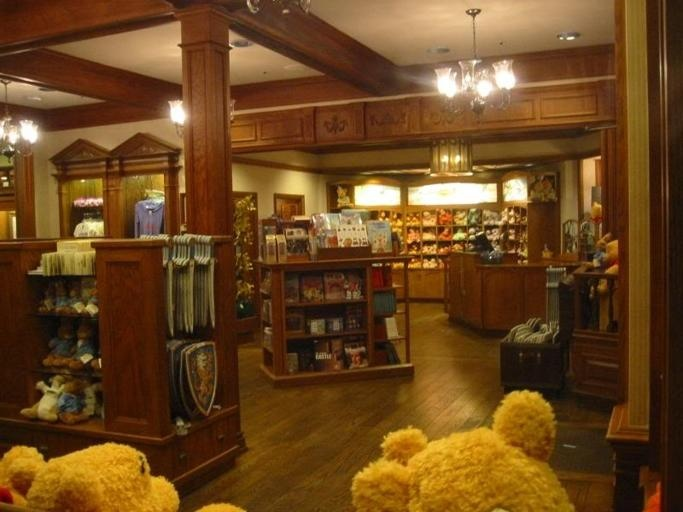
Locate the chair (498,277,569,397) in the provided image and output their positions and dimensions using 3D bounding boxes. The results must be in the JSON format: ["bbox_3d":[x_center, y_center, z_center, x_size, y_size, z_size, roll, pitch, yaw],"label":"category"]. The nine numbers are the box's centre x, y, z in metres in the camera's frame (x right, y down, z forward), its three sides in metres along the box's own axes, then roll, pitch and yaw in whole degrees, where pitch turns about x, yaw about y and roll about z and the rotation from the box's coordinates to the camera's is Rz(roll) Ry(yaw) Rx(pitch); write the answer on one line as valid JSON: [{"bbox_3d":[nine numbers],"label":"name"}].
[{"bbox_3d":[2.223,0.877,6.143,0.714,1.207,1.232,-1,0,23],"label":"chair"}]

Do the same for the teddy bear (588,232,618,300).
[{"bbox_3d":[2.716,0.078,5.708,0.216,0.590,0.919,-1,3,24],"label":"teddy bear"}]

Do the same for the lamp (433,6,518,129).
[{"bbox_3d":[1.369,-1.753,5.737,0.750,0.533,0.347,-1,2,12],"label":"lamp"}]

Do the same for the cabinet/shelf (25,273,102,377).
[{"bbox_3d":[-1.869,0.536,4.084,0.725,0.702,0.387,12,-15,-38],"label":"cabinet/shelf"}]

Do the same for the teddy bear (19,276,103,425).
[{"bbox_3d":[-2.005,0.667,4.049,0.726,1.031,0.414,0,3,33],"label":"teddy bear"}]

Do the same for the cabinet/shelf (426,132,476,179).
[{"bbox_3d":[1.781,-1.647,9.304,0.715,0.558,0.732,-6,9,-23],"label":"cabinet/shelf"}]

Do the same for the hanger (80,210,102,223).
[{"bbox_3d":[-4.522,-0.729,10.073,0.377,0.264,0.096,4,1,10],"label":"hanger"}]
